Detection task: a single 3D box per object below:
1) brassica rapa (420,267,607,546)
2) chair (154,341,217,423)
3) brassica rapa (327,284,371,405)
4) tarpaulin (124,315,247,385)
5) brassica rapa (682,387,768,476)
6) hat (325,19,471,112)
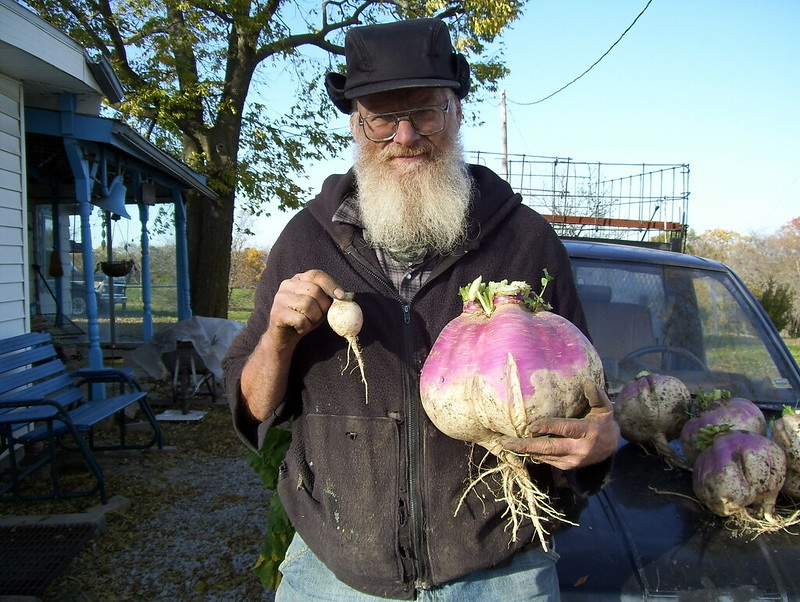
[{"bbox_3d":[0.559,0.478,2.769,0.741,1.254,0.713,-4,10,33],"label":"brassica rapa"},{"bbox_3d":[-3.260,1.115,9.033,0.685,1.051,2.408,0,4,-17],"label":"chair"},{"bbox_3d":[-0.216,0.206,2.665,0.152,0.585,0.160,-7,-4,-2],"label":"brassica rapa"},{"bbox_3d":[-2.725,0.542,8.291,1.262,0.539,1.659,3,-4,20],"label":"tarpaulin"},{"bbox_3d":[1.751,0.741,3.298,0.393,0.443,0.410,0,-11,-8],"label":"brassica rapa"},{"bbox_3d":[0.011,-1.150,2.971,0.774,0.420,0.916,-5,33,5],"label":"hat"}]
